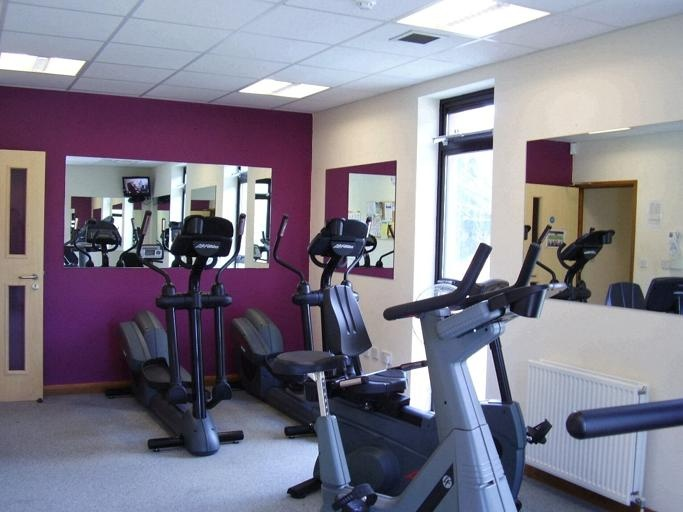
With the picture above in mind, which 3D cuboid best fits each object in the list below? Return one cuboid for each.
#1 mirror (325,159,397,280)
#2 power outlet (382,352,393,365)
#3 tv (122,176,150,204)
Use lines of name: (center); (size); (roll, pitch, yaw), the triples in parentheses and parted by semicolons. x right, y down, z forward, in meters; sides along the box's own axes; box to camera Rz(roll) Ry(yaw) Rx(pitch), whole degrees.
mirror: (0.246, -0.392, 5.869); (0.025, 1.695, 1.379); (1, 0, -43)
power outlet: (0.505, 1.123, 6.047); (0.021, 0.118, 0.159); (-3, 2, -29)
tv: (-2.405, -0.772, 6.410); (0.301, 0.336, 0.124); (-1, -2, -23)
